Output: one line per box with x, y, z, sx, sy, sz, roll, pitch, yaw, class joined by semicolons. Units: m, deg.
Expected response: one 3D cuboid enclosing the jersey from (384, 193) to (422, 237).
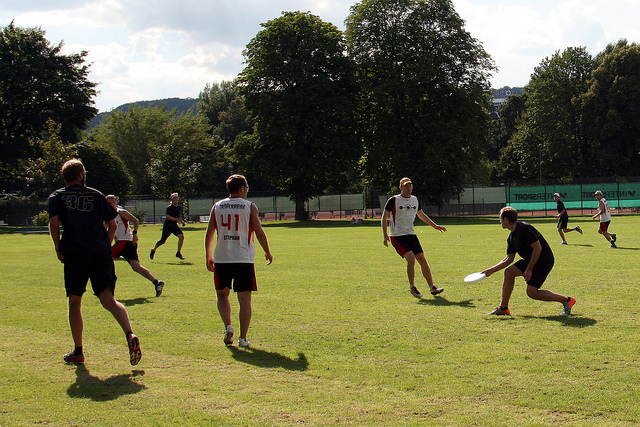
2.276;0.013;21.576;1.235;1.083;0.659;-1;9;-31;jersey

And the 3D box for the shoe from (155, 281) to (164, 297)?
-4.299;1.996;21.354;0.229;0.423;0.156;6;41;5;shoe

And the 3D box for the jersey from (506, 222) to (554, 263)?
5.086;0.694;19.325;1.034;0.961;0.441;1;1;11;jersey

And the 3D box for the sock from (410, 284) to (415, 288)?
2.452;1.907;21.118;0.161;0.141;0.152;0;-1;6;sock

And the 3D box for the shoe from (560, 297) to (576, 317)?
5.992;2.284;19.185;0.290;0.574;0.202;11;10;-11;shoe

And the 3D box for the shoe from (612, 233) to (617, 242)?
11.037;0.906;29.855;0.116;0.307;0.138;-7;-2;-4;shoe

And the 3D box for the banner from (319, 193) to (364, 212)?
1.809;-0.942;65.980;3.699;1.298;1.596;1;1;5;banner

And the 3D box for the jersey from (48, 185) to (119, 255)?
-5.324;0.125;17.581;1.628;1.444;0.837;3;-10;-36;jersey

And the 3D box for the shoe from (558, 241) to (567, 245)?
9.399;1.120;30.863;0.343;0.132;0.116;-1;-1;36;shoe

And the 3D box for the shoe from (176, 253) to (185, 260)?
-4.906;1.497;28.033;0.406;0.245;0.136;6;4;6;shoe

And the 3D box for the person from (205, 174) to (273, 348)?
-1.911;1.069;18.087;1.349;3.876;0.487;1;1;-8;person

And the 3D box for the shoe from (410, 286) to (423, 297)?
2.545;2.039;20.988;0.331;0.260;0.359;1;1;6;shoe

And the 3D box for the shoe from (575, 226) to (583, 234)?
11.708;0.736;36.019;0.157;0.349;0.120;-31;-11;-35;shoe

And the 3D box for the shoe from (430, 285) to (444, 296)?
3.082;2.019;20.992;0.319;0.258;0.385;1;1;5;shoe

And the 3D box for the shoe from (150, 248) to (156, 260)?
-5.837;1.405;27.717;0.174;0.371;0.131;3;23;-5;shoe

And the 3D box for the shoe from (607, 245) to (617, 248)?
10.661;1.193;29.000;0.299;0.105;0.097;2;4;7;shoe

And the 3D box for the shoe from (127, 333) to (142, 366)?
-3.978;2.902;17.068;0.272;0.615;0.298;-10;3;-29;shoe

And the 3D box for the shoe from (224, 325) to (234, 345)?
-2.061;2.739;17.998;0.192;0.408;0.203;1;35;-23;shoe

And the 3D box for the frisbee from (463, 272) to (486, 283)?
3.867;1.598;19.867;0.362;0.067;0.357;-6;7;31;frisbee
